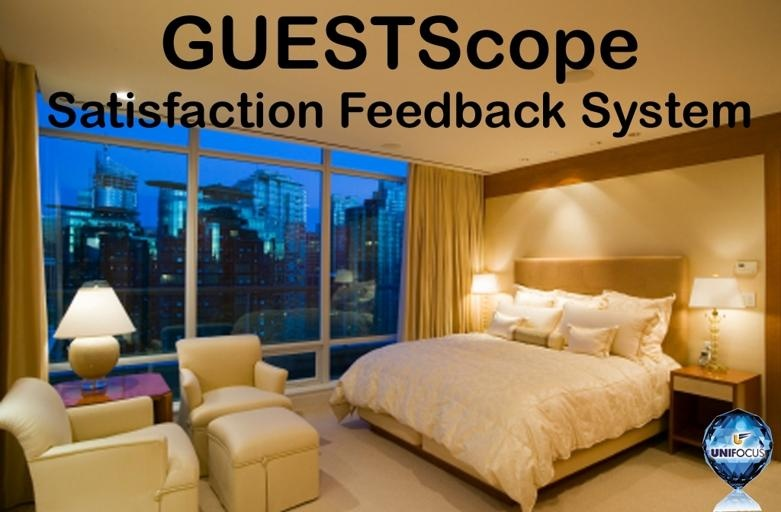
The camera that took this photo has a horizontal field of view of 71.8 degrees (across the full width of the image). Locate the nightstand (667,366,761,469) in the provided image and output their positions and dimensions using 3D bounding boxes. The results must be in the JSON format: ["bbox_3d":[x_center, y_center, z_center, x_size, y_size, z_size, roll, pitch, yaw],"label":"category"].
[{"bbox_3d":[3.280,1.608,5.537,0.440,0.868,0.622,-5,5,-36],"label":"nightstand"}]

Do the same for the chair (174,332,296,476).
[{"bbox_3d":[-1.633,1.457,5.512,1.000,1.146,1.133,-1,2,-34],"label":"chair"}]

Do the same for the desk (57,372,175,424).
[{"bbox_3d":[-2.530,1.257,5.040,0.841,0.521,0.485,-3,13,-32],"label":"desk"}]

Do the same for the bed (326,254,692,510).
[{"bbox_3d":[1.385,1.106,5.896,2.772,2.226,2.595,1,-1,-43],"label":"bed"}]

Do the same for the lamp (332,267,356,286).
[{"bbox_3d":[-0.633,0.272,7.191,0.219,0.164,0.225,-1,-1,10],"label":"lamp"}]
